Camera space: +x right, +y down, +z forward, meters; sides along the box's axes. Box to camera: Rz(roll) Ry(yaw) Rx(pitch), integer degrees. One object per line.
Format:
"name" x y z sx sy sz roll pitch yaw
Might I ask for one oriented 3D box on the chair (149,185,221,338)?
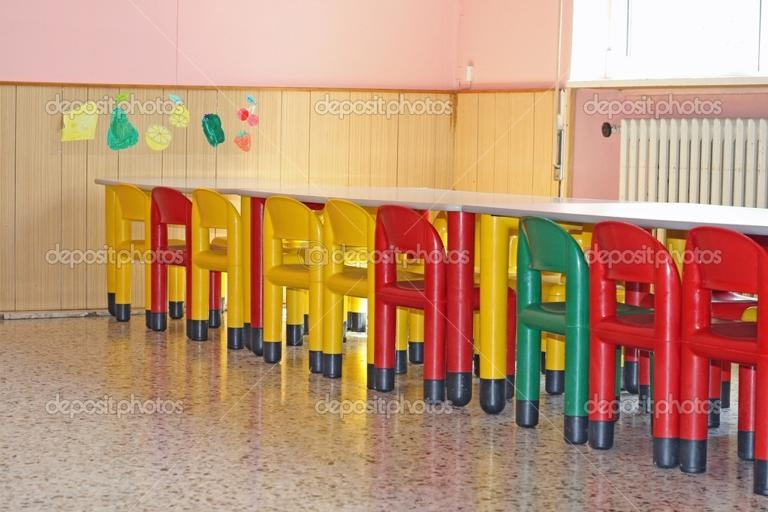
"chair" -1.473 -0.025 5.674 0.519 0.938 0.594 4 5 42

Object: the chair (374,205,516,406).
"chair" 0.185 0.219 4.082 0.552 0.936 0.254 3 9 14
